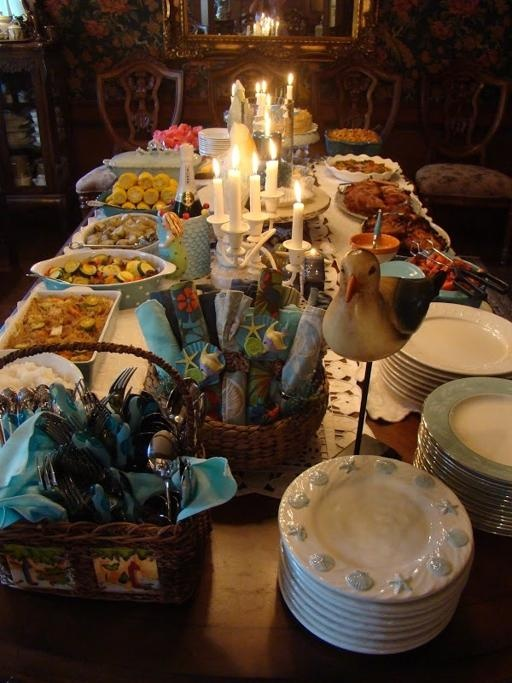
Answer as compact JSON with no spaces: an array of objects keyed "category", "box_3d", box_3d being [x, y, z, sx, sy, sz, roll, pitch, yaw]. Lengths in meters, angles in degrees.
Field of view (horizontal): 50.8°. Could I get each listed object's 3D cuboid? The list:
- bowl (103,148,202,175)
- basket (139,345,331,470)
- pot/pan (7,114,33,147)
[{"category":"bowl","box_3d":[-0.325,-0.610,1.817,0.285,0.097,0.297,0,23,0]},{"category":"basket","box_3d":[-0.004,0.097,0.779,0.196,0.070,0.168,1,25,2]},{"category":"pot/pan","box_3d":[-1.501,-1.329,3.403,0.168,0.061,0.176,-1,-17,-9]}]
